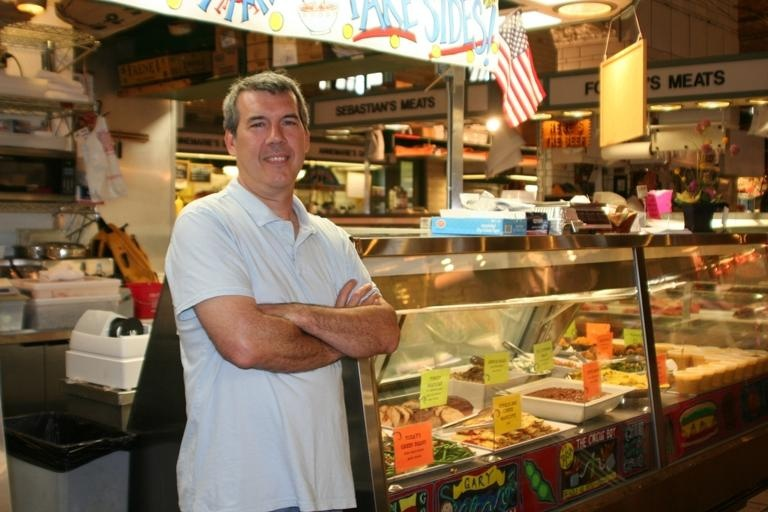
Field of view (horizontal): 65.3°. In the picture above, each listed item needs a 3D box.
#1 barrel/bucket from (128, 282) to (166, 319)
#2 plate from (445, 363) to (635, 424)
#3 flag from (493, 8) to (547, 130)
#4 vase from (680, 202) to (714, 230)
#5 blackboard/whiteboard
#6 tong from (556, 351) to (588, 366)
[{"bbox_3d":[-2.068,0.391,5.238,0.241,0.297,0.377,-6,8,-24],"label":"barrel/bucket"},{"bbox_3d":[0.784,0.720,3.078,0.637,0.099,0.463,0,1,41],"label":"plate"},{"bbox_3d":[0.815,-1.184,3.770,0.221,0.721,0.693,1,8,32],"label":"flag"},{"bbox_3d":[2.107,-0.270,4.040,0.201,0.192,0.207,-1,2,-3],"label":"vase"},{"bbox_3d":[1.580,-1.087,4.074,0.529,0.577,0.062,-27,28,-32],"label":"blackboard/whiteboard"},{"bbox_3d":[1.026,0.562,3.287,0.162,0.030,0.083,1,6,3],"label":"tong"}]
